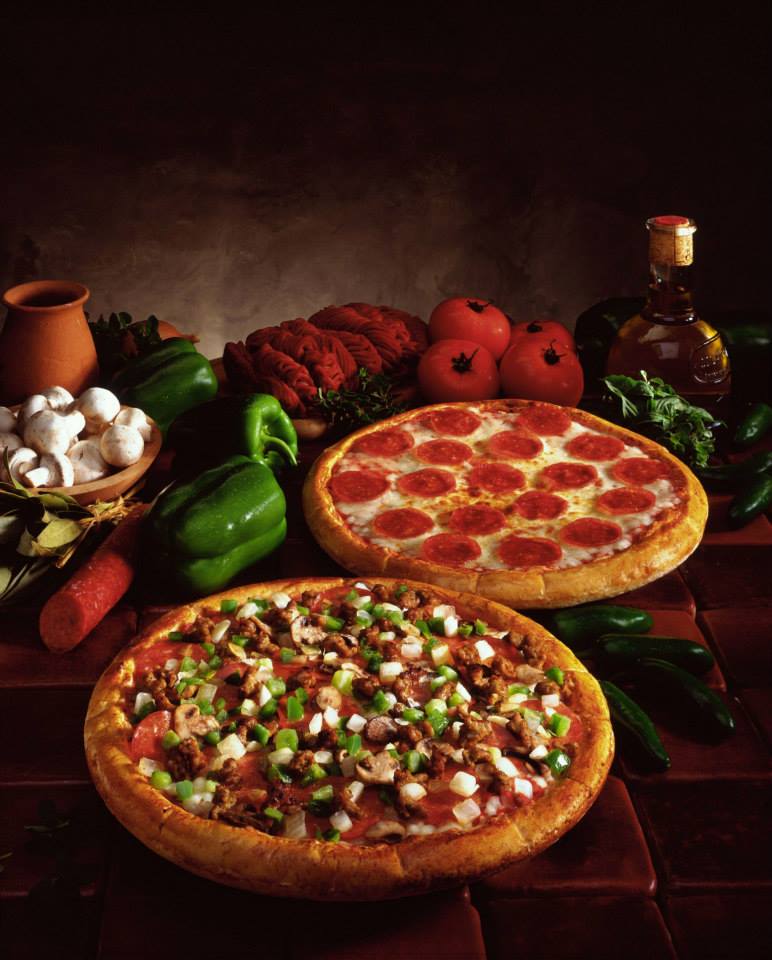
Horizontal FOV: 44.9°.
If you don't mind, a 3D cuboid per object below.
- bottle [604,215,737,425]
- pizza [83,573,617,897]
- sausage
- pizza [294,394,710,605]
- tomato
[{"bbox_3d":[0.780,-0.445,2.543,0.316,0.535,0.310,-1,25,0],"label":"bottle"},{"bbox_3d":[-0.057,0.354,1.473,0.807,0.151,0.678,2,21,7],"label":"pizza"},{"bbox_3d":[-0.566,0.205,1.879,0.110,0.084,0.334,17,30,12],"label":"sausage"},{"bbox_3d":[0.258,0.030,2.137,0.880,0.209,0.857,-8,22,-20],"label":"pizza"},{"bbox_3d":[0.337,-0.384,2.821,0.479,0.265,0.464,0,22,1],"label":"tomato"}]
